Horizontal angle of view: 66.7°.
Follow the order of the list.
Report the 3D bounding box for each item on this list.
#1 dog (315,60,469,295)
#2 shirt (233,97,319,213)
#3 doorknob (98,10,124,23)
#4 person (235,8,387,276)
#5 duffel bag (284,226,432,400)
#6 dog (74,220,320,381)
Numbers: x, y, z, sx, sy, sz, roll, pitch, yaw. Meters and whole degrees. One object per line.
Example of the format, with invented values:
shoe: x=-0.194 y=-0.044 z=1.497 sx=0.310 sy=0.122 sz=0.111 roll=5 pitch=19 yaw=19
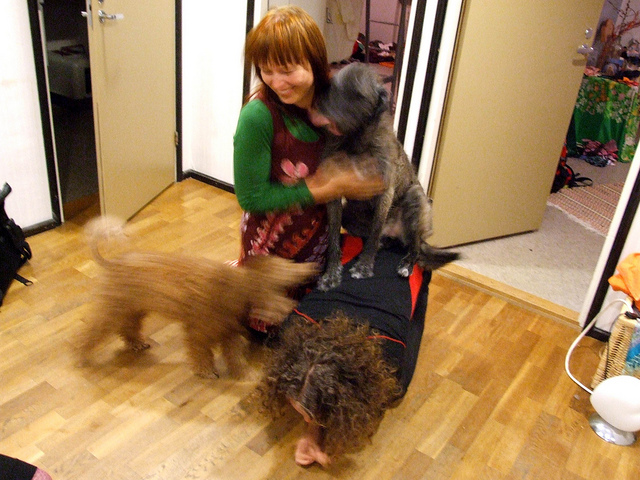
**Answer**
dog: x=0.227 y=-0.322 z=2.080 sx=0.628 sy=0.868 sz=0.442 roll=-18 pitch=30 yaw=-25
shirt: x=-0.149 y=-0.278 z=1.912 sx=0.259 sy=0.449 sz=0.271 roll=16 pitch=11 yaw=18
doorknob: x=-1.255 y=-1.341 z=2.918 sx=0.039 sy=0.072 sz=0.164 roll=26 pitch=39 yaw=34
person: x=-0.052 y=-0.251 z=1.847 sx=0.596 sy=1.100 sz=0.447 roll=6 pitch=31 yaw=7
duffel bag: x=0.191 y=0.438 z=2.233 sx=0.565 sy=0.297 sz=0.803 roll=25 pitch=51 yaw=13
dog: x=-0.443 y=0.248 z=1.720 sx=0.873 sy=0.595 sz=0.273 roll=10 pitch=22 yaw=5
